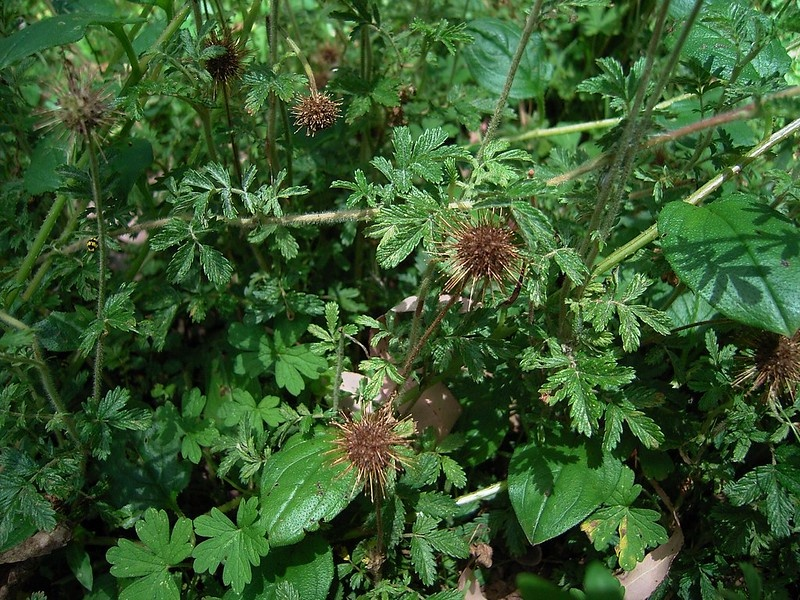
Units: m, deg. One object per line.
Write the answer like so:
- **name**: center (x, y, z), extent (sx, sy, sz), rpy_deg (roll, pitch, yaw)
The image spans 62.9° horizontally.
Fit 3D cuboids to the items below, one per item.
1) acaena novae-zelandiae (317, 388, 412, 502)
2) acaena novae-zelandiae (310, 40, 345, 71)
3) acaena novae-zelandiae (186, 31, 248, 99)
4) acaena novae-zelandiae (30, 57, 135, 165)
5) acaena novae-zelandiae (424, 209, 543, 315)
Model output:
- **acaena novae-zelandiae**: center (-0.136, 0.561, 2.470), extent (0.331, 0.270, 0.367), rpy_deg (-15, 42, -21)
- **acaena novae-zelandiae**: center (-0.453, -1.562, 4.113), extent (0.202, 0.120, 0.350), rpy_deg (4, 45, -2)
- **acaena novae-zelandiae**: center (-0.731, -0.991, 2.648), extent (0.201, 0.197, 0.246), rpy_deg (1, 78, 9)
- **acaena novae-zelandiae**: center (-1.119, -0.692, 2.266), extent (0.247, 0.386, 0.252), rpy_deg (-12, 8, -20)
- **acaena novae-zelandiae**: center (0.321, -0.167, 2.403), extent (0.338, 0.372, 0.359), rpy_deg (14, 60, 30)
